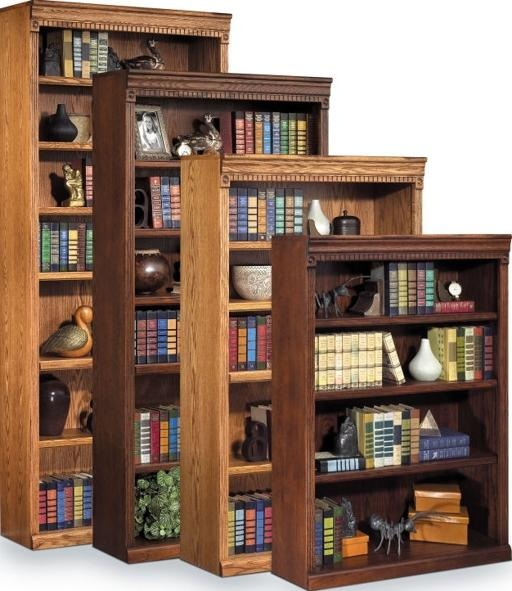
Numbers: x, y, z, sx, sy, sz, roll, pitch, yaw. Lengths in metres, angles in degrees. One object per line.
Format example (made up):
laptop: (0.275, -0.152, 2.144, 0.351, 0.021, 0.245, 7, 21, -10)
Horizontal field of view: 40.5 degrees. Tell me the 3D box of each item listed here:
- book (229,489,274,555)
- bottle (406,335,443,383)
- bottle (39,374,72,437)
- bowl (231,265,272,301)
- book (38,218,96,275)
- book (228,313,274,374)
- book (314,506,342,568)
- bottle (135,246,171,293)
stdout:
book: (-0.039, 1.033, 3.291, 0.228, 0.283, 0.297, 0, 1, -4)
bottle: (0.761, 0.297, 3.149, 0.187, 0.228, 0.176, 0, 2, 0)
bottle: (-1.047, 0.604, 3.745, 0.271, 0.309, 0.258, 1, 0, -11)
bowl: (-0.011, -0.055, 3.307, 0.172, 0.119, 0.168, 1, 0, 0)
book: (-0.973, -0.238, 3.579, 0.312, 0.283, 0.160, 0, -1, -32)
book: (-0.049, 0.207, 3.286, 0.228, 0.284, 0.306, 0, 0, -7)
book: (0.298, 0.995, 2.852, 0.132, 0.230, 0.031, -1, -4, -29)
bottle: (-0.483, -0.110, 3.423, 0.205, 0.181, 0.203, 2, 2, 34)
